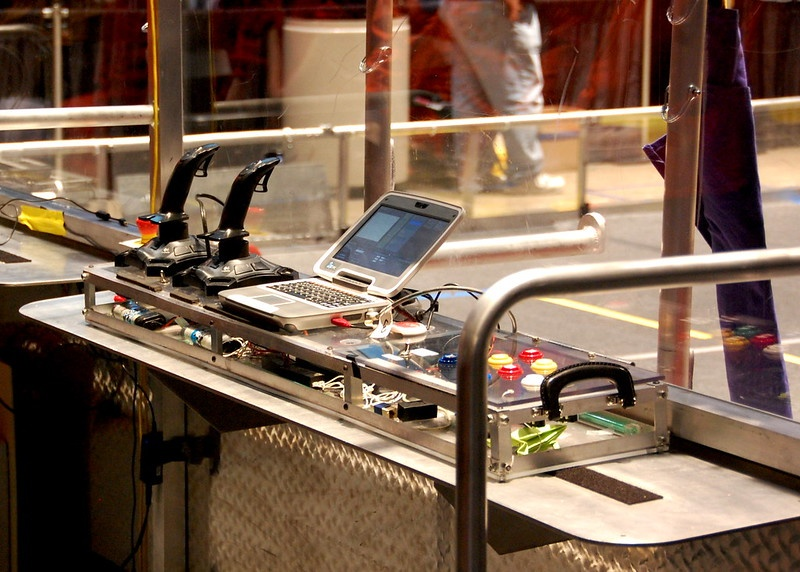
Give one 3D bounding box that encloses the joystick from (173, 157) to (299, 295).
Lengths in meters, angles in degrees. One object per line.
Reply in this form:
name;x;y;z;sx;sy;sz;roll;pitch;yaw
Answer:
joystick;-0.448;-0.178;2.387;0.401;0.409;0.351;-5;12;-31
